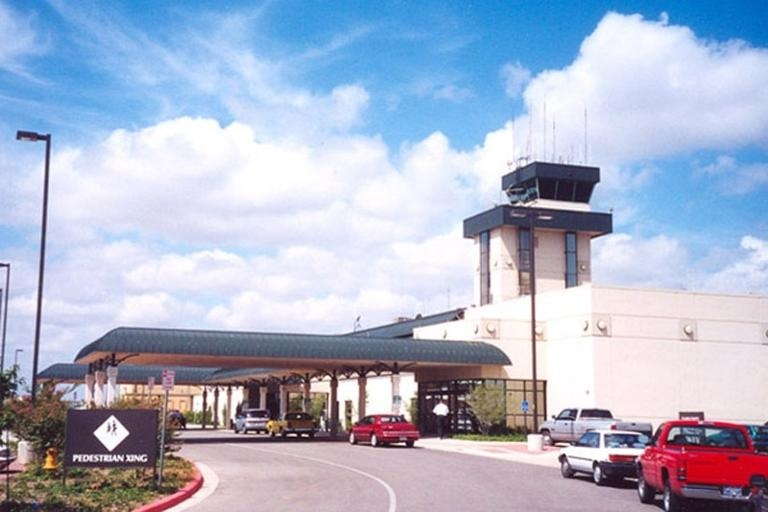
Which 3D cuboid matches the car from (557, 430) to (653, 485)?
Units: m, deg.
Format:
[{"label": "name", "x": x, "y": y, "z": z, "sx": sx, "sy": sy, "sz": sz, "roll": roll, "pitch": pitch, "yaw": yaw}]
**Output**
[{"label": "car", "x": 9.302, "y": 8.444, "z": 37.823, "sx": 2.035, "sy": 2.033, "sz": 5.442, "roll": 0, "pitch": -7, "yaw": -4}]
